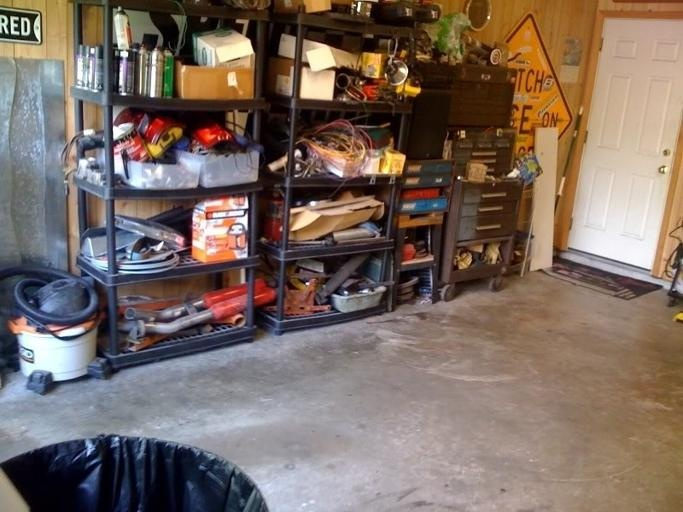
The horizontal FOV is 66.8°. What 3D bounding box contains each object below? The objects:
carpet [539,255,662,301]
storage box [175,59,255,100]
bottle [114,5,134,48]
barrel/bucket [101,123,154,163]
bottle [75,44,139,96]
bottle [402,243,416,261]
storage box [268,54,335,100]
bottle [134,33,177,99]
[{"bbox_3d":[2.654,0.246,5.303,0.963,0.035,0.705,20,25,41],"label":"carpet"},{"bbox_3d":[-0.719,-1.004,3.002,0.447,0.185,0.106,-14,25,-40],"label":"storage box"},{"bbox_3d":[-1.162,-1.208,2.768,0.073,0.209,0.208,-5,20,-20],"label":"bottle"},{"bbox_3d":[-1.198,-0.640,3.011,0.209,0.230,0.208,-21,20,8],"label":"barrel/bucket"},{"bbox_3d":[-1.230,-0.984,2.756,0.182,0.294,0.324,-3,10,-45],"label":"bottle"},{"bbox_3d":[0.546,-0.023,4.214,0.133,0.124,0.130,-2,34,9],"label":"bottle"},{"bbox_3d":[-0.260,-1.136,3.421,0.357,0.216,0.352,-5,18,-31],"label":"storage box"},{"bbox_3d":[-0.998,-0.996,2.809,0.234,0.265,0.135,-8,22,-29],"label":"bottle"}]
